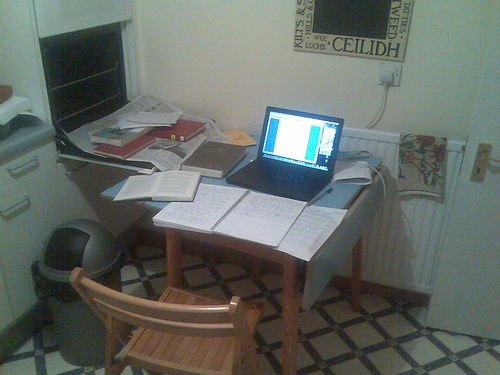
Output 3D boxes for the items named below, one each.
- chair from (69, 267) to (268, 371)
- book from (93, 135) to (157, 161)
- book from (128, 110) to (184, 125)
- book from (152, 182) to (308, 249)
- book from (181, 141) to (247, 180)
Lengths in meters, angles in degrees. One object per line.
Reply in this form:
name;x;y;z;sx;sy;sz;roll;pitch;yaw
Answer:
chair;-0.372;0.583;1.762;0.400;0.573;0.405;10;46;5
book;-0.643;-0.196;2.046;0.189;0.032;0.233;12;27;20
book;-0.514;-0.382;2.251;0.132;0.020;0.136;4;33;7
book;-0.058;0.103;1.707;0.431;0.044;0.270;13;39;19
book;-0.179;-0.136;2.039;0.227;0.093;0.313;13;26;19
